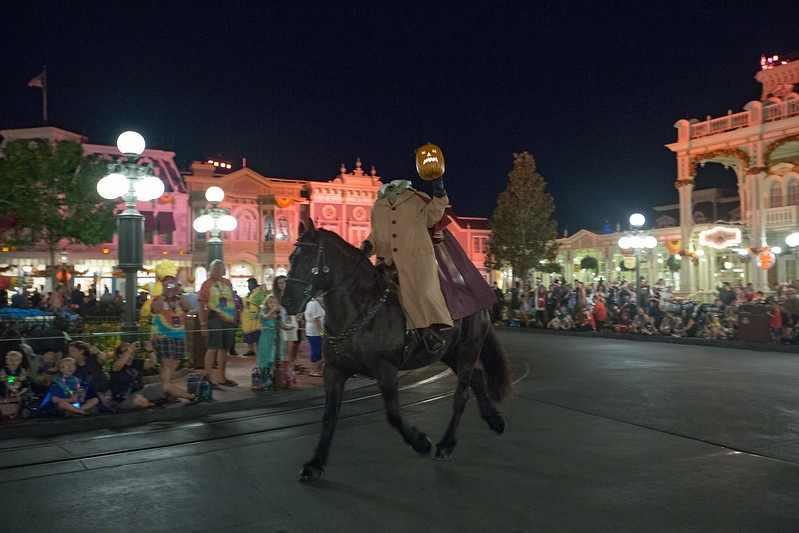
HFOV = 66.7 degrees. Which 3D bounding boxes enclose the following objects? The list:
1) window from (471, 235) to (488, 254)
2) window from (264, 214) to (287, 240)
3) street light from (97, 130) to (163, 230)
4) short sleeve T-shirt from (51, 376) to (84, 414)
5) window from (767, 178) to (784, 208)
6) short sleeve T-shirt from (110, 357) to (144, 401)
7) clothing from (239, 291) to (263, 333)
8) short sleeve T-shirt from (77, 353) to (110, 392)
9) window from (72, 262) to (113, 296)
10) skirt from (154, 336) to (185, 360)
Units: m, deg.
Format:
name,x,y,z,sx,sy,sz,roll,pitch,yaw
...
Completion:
name,x,y,z,sx,sy,sz,roll,pitch,yaw
window,7.866,-2.156,59.938,2.411,1.819,0.277,0,-2,-13
window,-9.734,-3.022,47.349,2.498,2.212,0.340,0,-3,-26
street light,-6.122,-2.079,13.801,0.979,1.883,1.132,-1,2,8
short sleeve T-shirt,-5.727,2.176,10.449,0.528,0.575,0.282,-2,2,-26
window,20.428,-3.960,32.822,0.485,1.401,0.797,-2,2,-43
short sleeve T-shirt,-5.091,2.046,11.281,0.468,0.715,0.610,6,-7,8
clothing,-3.733,1.161,16.081,0.732,1.114,1.308,3,-5,-5
short sleeve T-shirt,-5.548,1.916,10.986,0.500,0.707,0.304,-2,2,-25
window,-19.840,0.708,39.095,2.760,2.471,0.138,-1,-7,-39
skirt,-4.393,1.547,11.662,0.324,0.451,0.568,-6,-7,44
